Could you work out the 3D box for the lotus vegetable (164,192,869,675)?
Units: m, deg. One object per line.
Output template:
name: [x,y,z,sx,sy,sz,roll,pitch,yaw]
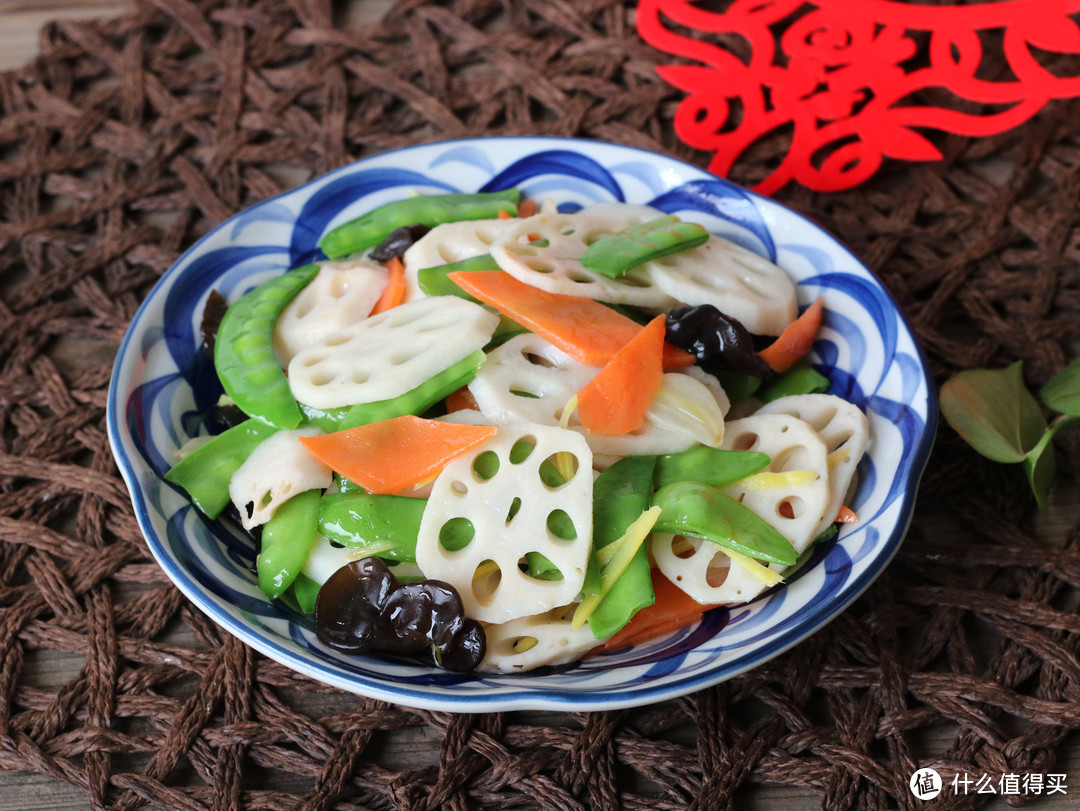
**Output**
lotus vegetable: [-0.026,0.064,2.628,1.439,0.347,1.055,1,52,3]
